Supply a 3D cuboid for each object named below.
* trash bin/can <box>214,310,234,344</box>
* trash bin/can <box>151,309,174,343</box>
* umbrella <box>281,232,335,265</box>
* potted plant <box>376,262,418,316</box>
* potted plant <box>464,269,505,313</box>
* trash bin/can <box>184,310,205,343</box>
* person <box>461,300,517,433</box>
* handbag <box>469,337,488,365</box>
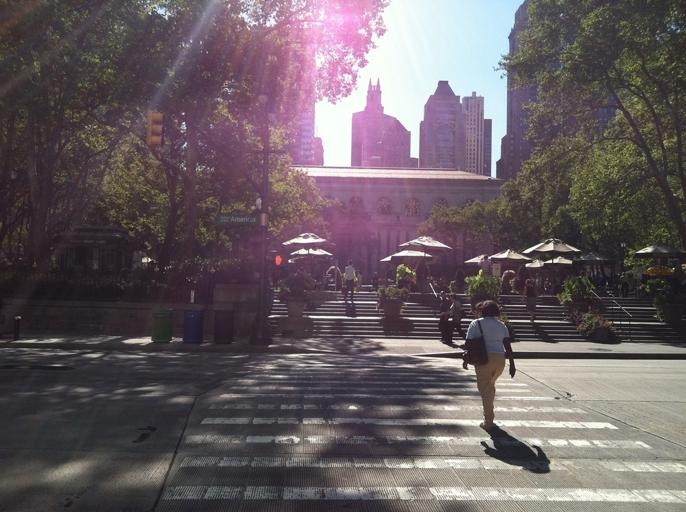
[{"bbox_3d":[-4.522,2.703,22.922,0.902,1.572,1.009,0,-7,-7],"label":"trash bin/can"},{"bbox_3d":[-6.878,2.672,22.988,0.743,1.219,0.533,0,1,-27],"label":"trash bin/can"},{"bbox_3d":[-2.199,-0.623,39.024,2.509,1.279,2.609,-8,1,-20],"label":"umbrella"},{"bbox_3d":[2.605,1.830,29.948,1.763,1.820,2.648,1,-4,-8],"label":"potted plant"},{"bbox_3d":[6.773,1.680,28.884,1.622,2.070,1.734,1,-9,-3],"label":"potted plant"},{"bbox_3d":[-5.637,2.685,22.680,0.685,1.252,0.444,0,1,-18],"label":"trash bin/can"},{"bbox_3d":[2.791,2.077,11.643,0.828,2.383,0.704,0,2,-37],"label":"person"},{"bbox_3d":[2.572,1.819,11.416,0.172,0.476,0.409,4,-9,-19],"label":"handbag"}]
